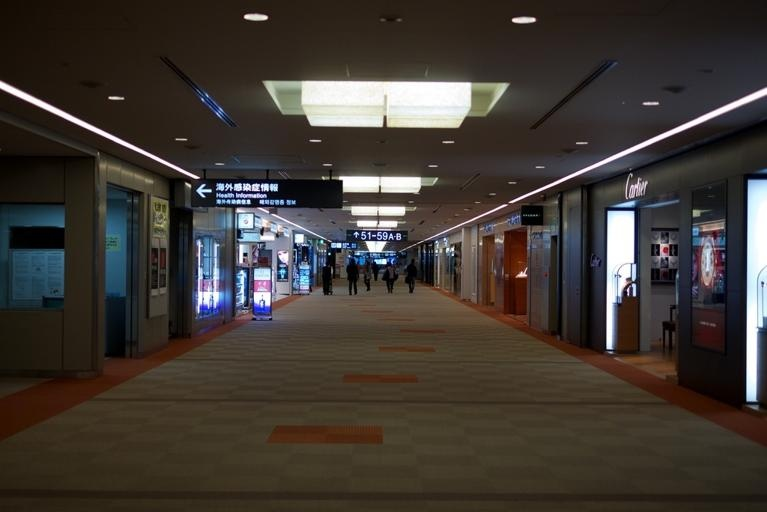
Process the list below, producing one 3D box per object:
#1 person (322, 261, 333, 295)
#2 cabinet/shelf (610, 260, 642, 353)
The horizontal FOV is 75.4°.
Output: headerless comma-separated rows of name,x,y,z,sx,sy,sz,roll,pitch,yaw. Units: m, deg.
person,-2.997,1.171,26.438,0.456,1.697,1.214,1,-1,-3
cabinet/shelf,5.359,1.113,11.054,0.547,1.920,0.484,2,-3,1
